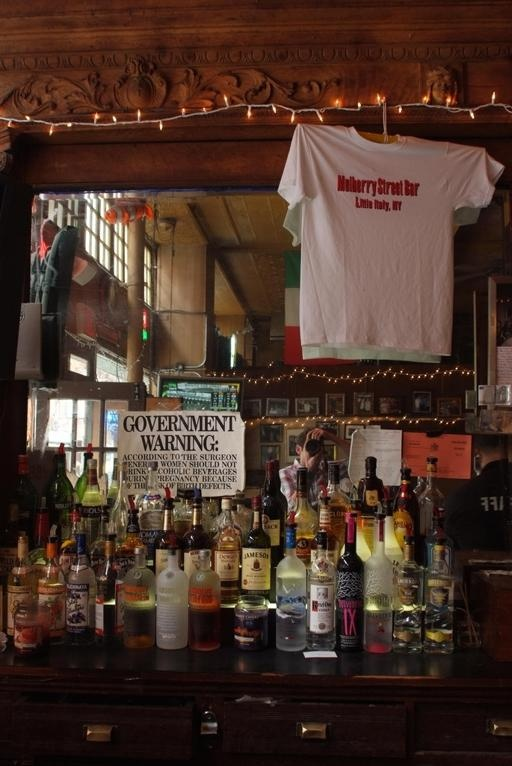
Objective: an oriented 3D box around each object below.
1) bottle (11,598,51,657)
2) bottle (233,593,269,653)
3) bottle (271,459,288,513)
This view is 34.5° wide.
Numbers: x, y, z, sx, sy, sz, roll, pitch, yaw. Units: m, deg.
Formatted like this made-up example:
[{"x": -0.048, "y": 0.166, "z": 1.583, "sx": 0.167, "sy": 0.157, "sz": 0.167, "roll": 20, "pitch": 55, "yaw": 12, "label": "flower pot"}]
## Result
[{"x": -0.559, "y": 0.634, "z": 2.111, "sx": 0.077, "sy": 0.122, "sz": 0.126, "roll": 1, "pitch": -6, "yaw": -2, "label": "bottle"}, {"x": -0.013, "y": 0.618, "z": 2.115, "sx": 0.107, "sy": 0.120, "sz": 0.106, "roll": -6, "pitch": -11, "yaw": 34, "label": "bottle"}, {"x": 0.070, "y": 0.311, "z": 2.500, "sx": 0.047, "sy": 0.159, "sz": 0.080, "roll": 0, "pitch": -8, "yaw": 1, "label": "bottle"}]
